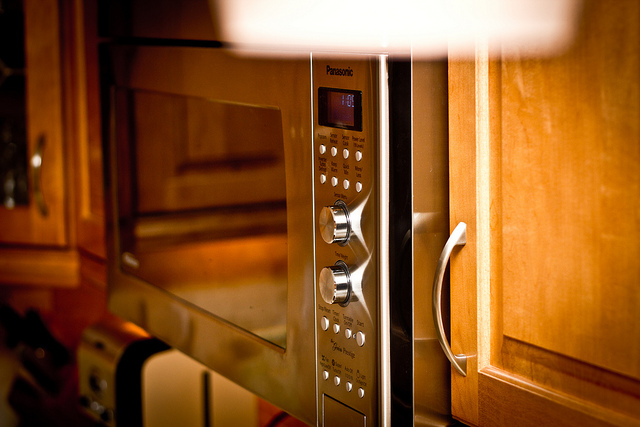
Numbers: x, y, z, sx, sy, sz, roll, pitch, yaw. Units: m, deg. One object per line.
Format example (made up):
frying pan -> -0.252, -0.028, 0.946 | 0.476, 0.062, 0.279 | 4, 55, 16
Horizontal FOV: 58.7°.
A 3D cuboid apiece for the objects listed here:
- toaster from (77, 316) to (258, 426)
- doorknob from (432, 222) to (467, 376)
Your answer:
toaster -> -0.293, 0.314, 1.120 | 0.184, 0.233, 0.317 | -2, 5, -34
doorknob -> 0.136, 0.093, 0.627 | 0.037, 0.187, 0.038 | -14, 20, -32
